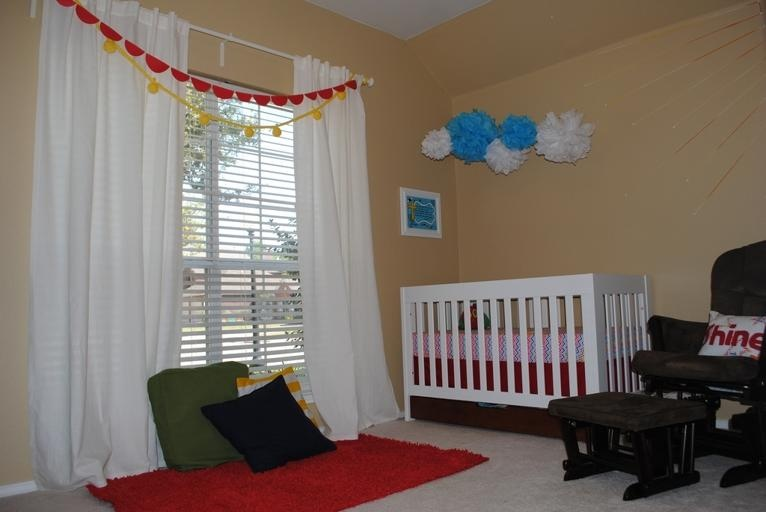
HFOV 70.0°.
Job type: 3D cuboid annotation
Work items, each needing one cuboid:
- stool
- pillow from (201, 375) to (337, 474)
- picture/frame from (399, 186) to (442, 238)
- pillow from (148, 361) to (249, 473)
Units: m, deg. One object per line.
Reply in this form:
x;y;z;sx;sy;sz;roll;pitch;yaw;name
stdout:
1.387;1.022;3.160;0.589;0.453;0.667;2;-9;-26;stool
-0.681;1.039;3.471;0.529;0.168;0.556;4;40;-46;pillow
0.353;-0.396;5.074;0.496;0.441;0.029;3;-8;-39;picture/frame
-1.200;1.059;3.498;0.564;0.529;0.195;-14;-16;-39;pillow
